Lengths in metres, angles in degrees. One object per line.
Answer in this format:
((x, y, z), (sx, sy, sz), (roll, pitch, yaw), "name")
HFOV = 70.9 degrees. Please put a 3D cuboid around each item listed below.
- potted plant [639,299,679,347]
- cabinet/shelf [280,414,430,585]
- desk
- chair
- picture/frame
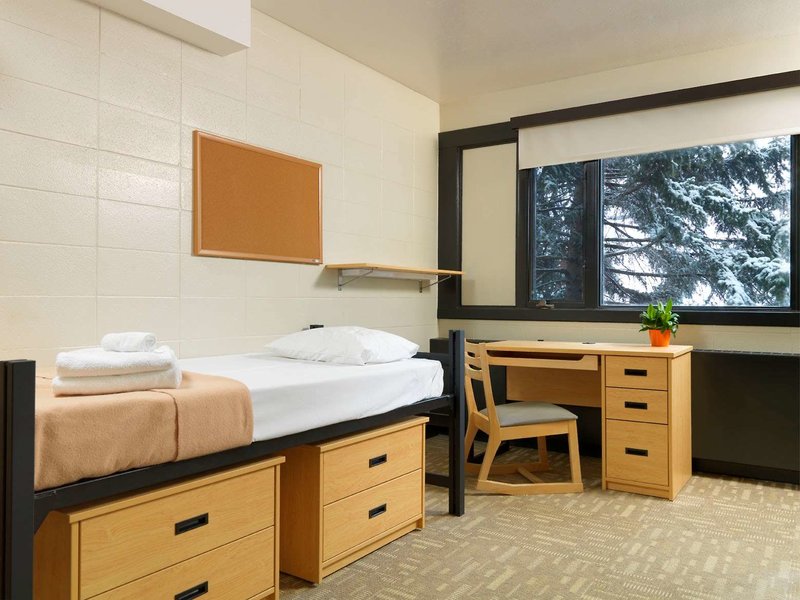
((1.715, 0.148, 3.689), (0.218, 0.300, 0.283), (2, 6, 39), "potted plant")
((-0.281, 0.783, 2.809), (0.532, 0.709, 1.011), (-2, -2, 36), "cabinet/shelf")
((1.194, 0.738, 3.829), (1.291, 0.828, 0.687), (1, 0, 36), "desk")
((0.763, 0.732, 3.634), (0.769, 0.894, 0.698), (0, -4, 7), "chair")
((-0.871, -0.594, 3.530), (0.066, 0.691, 1.015), (3, 2, 35), "picture/frame")
